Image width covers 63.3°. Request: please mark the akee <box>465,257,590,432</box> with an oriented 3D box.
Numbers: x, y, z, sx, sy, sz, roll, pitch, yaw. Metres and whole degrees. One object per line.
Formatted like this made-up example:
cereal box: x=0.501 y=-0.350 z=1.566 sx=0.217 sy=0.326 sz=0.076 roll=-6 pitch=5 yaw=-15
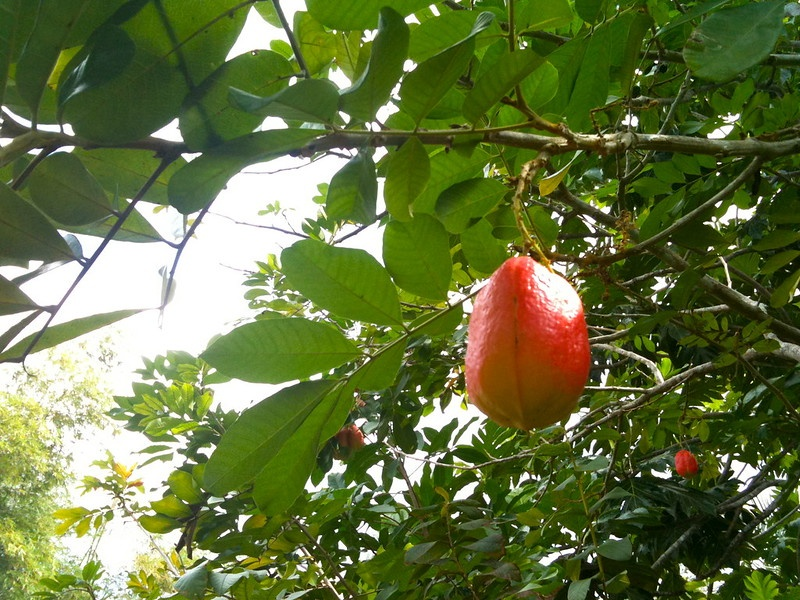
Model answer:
akee: x=0.290 y=0.091 z=1.540 sx=0.275 sy=0.445 sz=0.292 roll=9 pitch=-25 yaw=-9
